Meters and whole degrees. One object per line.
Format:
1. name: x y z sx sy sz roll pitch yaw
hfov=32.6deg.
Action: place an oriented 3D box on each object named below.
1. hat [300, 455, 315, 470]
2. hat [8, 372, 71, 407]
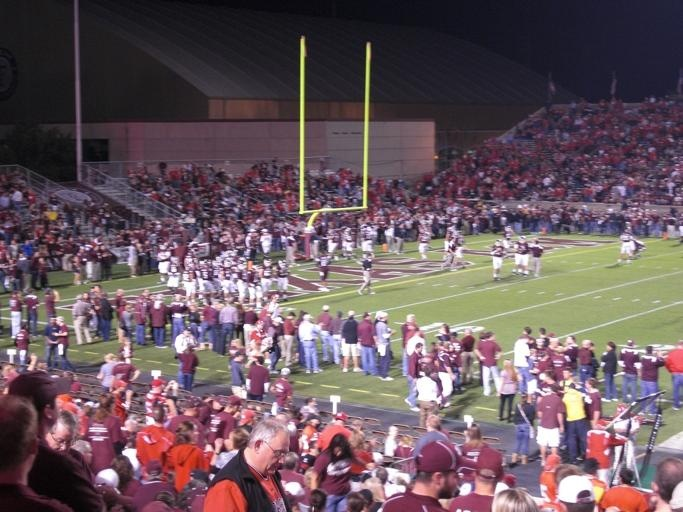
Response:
1. hat: -0.739 4.650 26.407 0.394 0.286 0.188 5 -1 5
2. hat: -5.399 2.360 21.002 0.929 0.378 0.592 -4 18 -34
